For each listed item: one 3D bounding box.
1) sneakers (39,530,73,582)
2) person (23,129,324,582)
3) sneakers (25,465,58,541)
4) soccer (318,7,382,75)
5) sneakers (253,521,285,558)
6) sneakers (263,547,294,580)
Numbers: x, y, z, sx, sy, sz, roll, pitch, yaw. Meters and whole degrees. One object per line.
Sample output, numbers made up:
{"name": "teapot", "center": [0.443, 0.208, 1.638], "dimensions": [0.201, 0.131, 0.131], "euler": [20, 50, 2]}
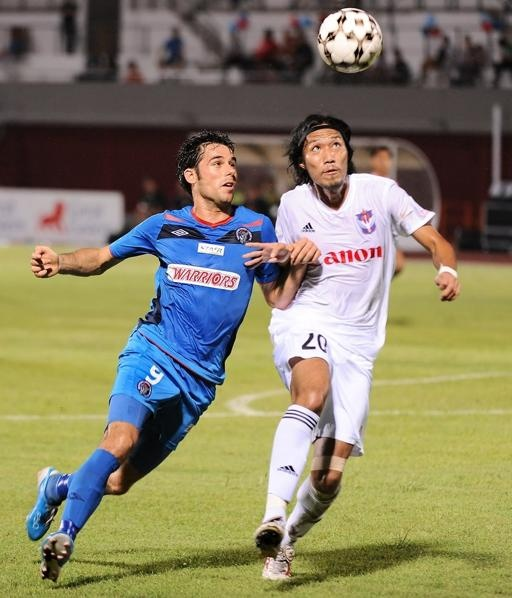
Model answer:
{"name": "sneakers", "center": [-0.730, 0.942, 3.568], "dimensions": [0.086, 0.199, 0.109], "euler": [25, 24, -8]}
{"name": "person", "center": [-0.447, 0.071, 4.361], "dimensions": [1.175, 1.627, 0.807], "euler": [-4, 13, -42]}
{"name": "sneakers", "center": [-0.947, 0.929, 4.395], "dimensions": [0.134, 0.379, 0.212], "euler": [3, 10, -12]}
{"name": "soccer", "center": [0.565, -1.680, 6.382], "dimensions": [0.510, 0.393, 0.430], "euler": [1, 3, 1]}
{"name": "sneakers", "center": [0.052, 0.880, 3.625], "dimensions": [0.094, 0.134, 0.070], "euler": [1, 26, -6]}
{"name": "sneakers", "center": [0.127, 1.130, 4.295], "dimensions": [0.112, 0.110, 0.283], "euler": [12, 0, 10]}
